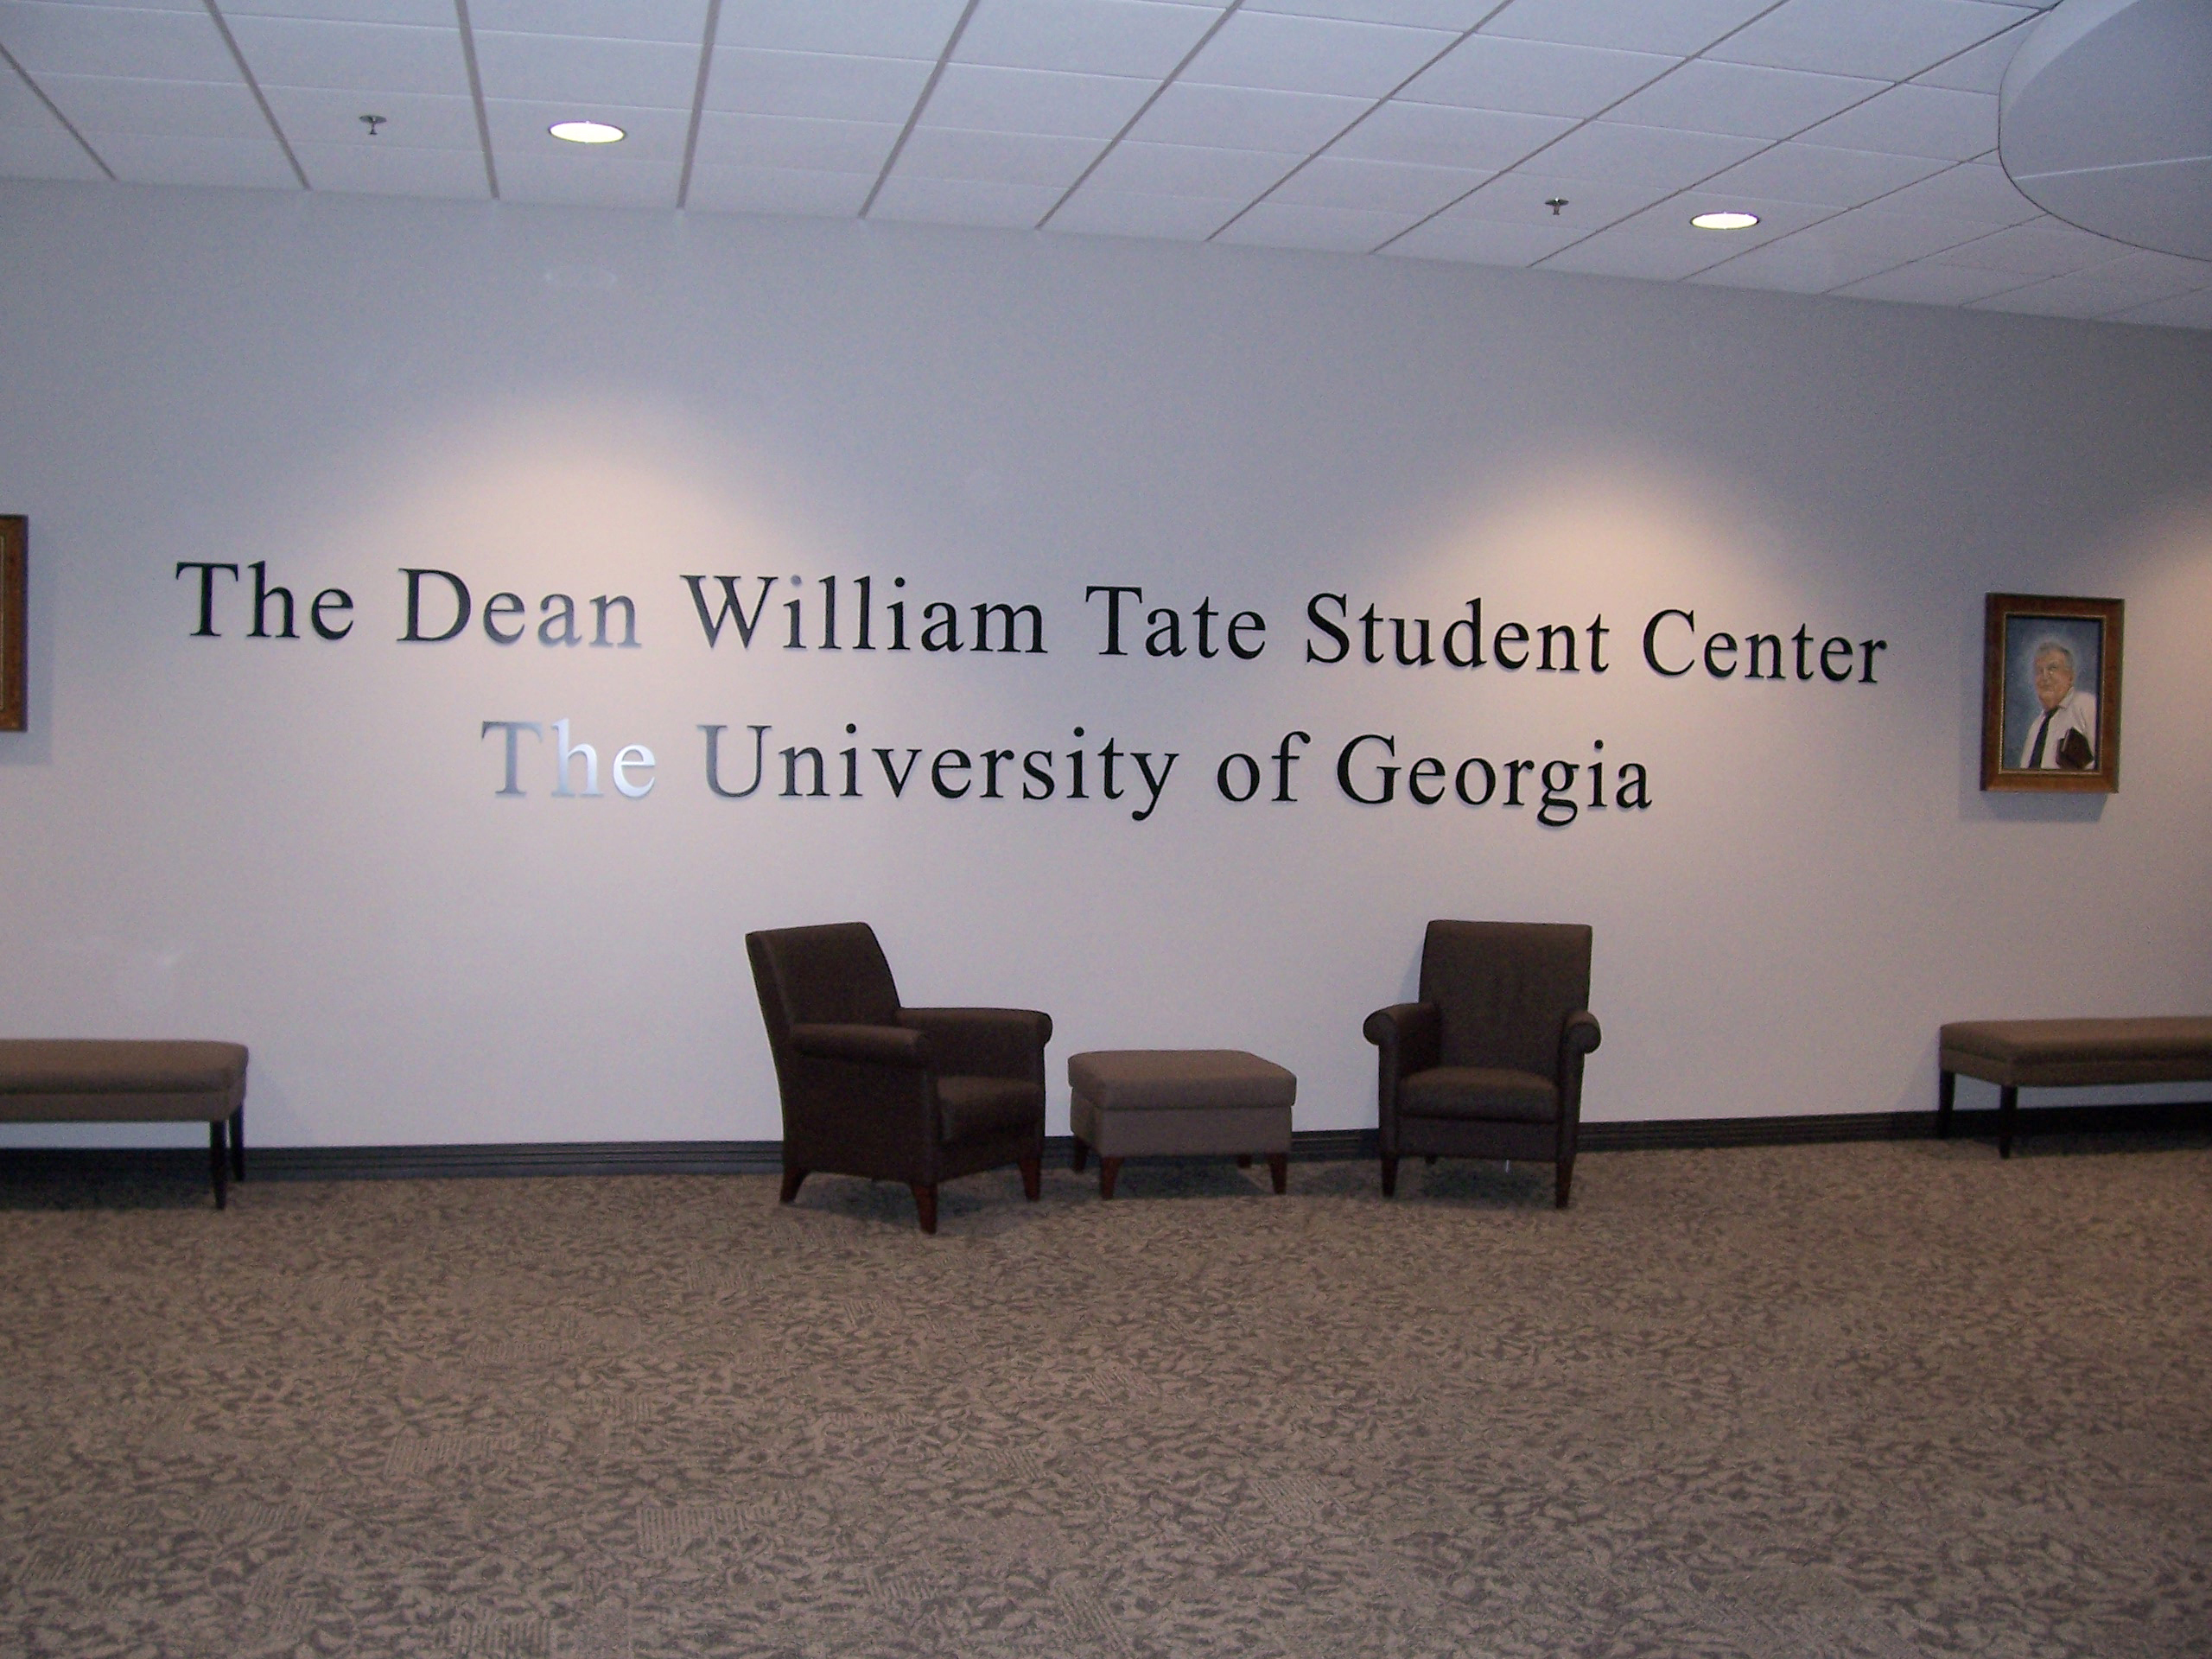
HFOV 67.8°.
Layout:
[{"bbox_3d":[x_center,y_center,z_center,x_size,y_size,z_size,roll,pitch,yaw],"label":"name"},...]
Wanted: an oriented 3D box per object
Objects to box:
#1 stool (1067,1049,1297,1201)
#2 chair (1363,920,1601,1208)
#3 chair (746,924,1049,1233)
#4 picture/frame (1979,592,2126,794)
[{"bbox_3d":[0.329,1.340,7.554,0.957,0.607,0.698,-1,1,-7],"label":"stool"},{"bbox_3d":[1.763,1.057,7.733,1.001,1.209,0.923,0,2,15],"label":"chair"},{"bbox_3d":[-0.894,1.030,7.187,1.043,1.212,0.875,0,2,30],"label":"chair"},{"bbox_3d":[5.033,-0.737,8.811,1.026,1.487,0.105,1,0,-17],"label":"picture/frame"}]
